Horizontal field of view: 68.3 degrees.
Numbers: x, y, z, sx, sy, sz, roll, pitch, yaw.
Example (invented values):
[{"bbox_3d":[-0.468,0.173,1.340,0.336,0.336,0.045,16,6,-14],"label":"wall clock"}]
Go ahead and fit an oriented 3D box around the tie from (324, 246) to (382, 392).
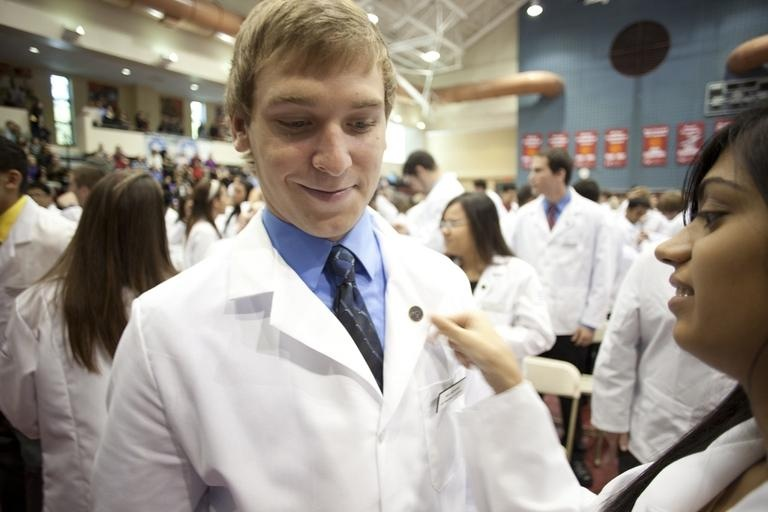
[{"bbox_3d":[-0.130,0.227,2.228,0.158,0.606,0.064,-21,-9,-21],"label":"tie"}]
